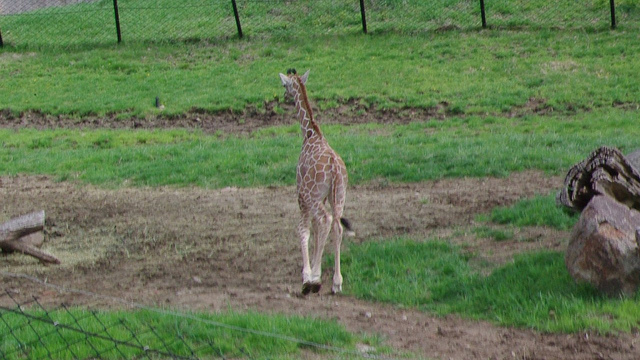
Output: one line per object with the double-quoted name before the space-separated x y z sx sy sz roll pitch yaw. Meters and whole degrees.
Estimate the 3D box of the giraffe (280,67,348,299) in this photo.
"giraffe" -0.050 0.214 56.595 1.939 8.715 2.794 -6 10 -1
